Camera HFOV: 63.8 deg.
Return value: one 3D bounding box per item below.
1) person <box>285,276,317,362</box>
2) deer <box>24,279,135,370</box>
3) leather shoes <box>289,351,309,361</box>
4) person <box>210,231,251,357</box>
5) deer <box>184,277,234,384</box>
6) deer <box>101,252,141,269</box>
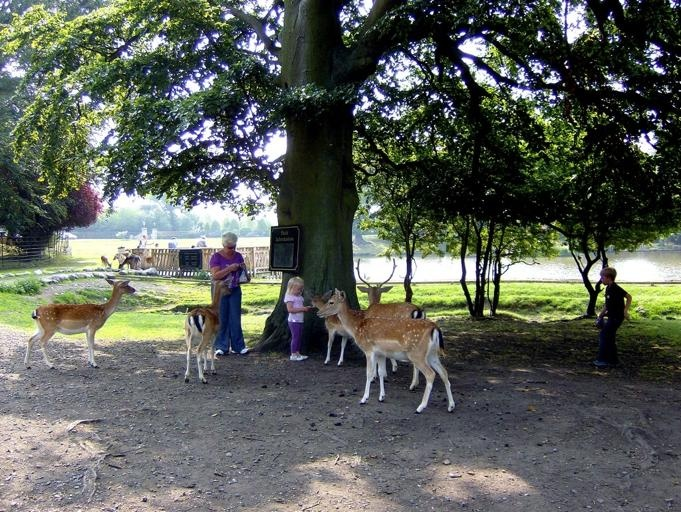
[{"bbox_3d":[-0.862,1.314,11.599,0.655,1.693,0.461,0,0,25],"label":"person"},{"bbox_3d":[-5.158,1.364,11.012,2.079,1.741,0.615,0,-5,-34],"label":"deer"},{"bbox_3d":[-0.880,2.125,11.629,0.381,0.184,0.163,-1,4,4],"label":"leather shoes"},{"bbox_3d":[-2.352,0.897,11.658,0.800,2.789,0.810,5,7,-22],"label":"person"},{"bbox_3d":[-2.337,0.818,11.703,0.804,2.574,0.726,0,4,-22],"label":"deer"},{"bbox_3d":[-13.981,0.296,35.313,2.105,1.051,2.160,6,7,43],"label":"deer"}]
